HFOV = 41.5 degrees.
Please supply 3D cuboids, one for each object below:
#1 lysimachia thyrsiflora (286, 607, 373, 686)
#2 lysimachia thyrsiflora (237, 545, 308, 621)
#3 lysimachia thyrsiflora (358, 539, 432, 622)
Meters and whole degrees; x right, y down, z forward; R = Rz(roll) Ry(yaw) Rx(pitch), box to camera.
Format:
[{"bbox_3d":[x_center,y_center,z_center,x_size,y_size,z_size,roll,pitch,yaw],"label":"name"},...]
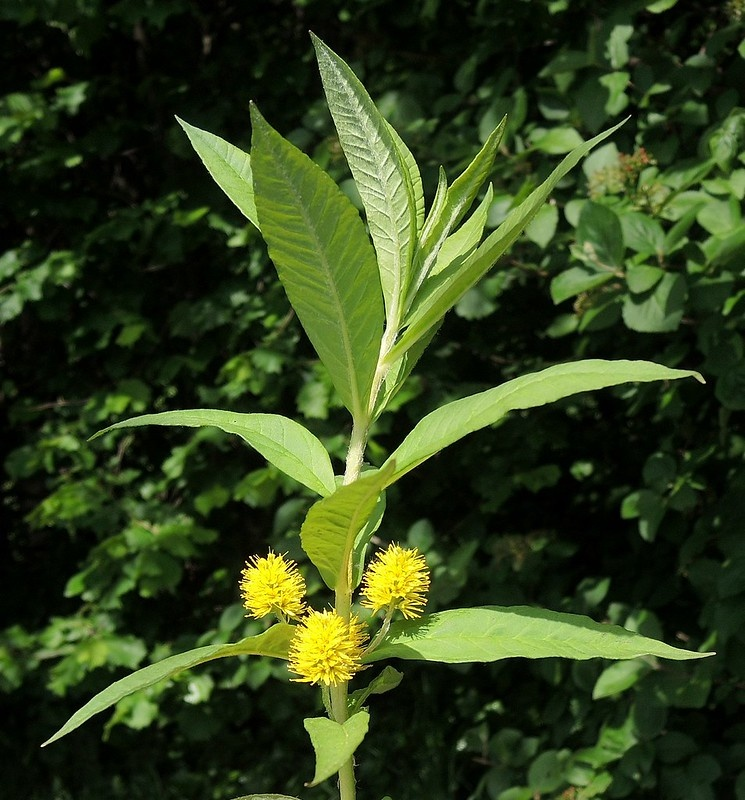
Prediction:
[{"bbox_3d":[-0.078,0.302,1.234,0.087,0.069,0.077,-8,2,-11],"label":"lysimachia thyrsiflora"},{"bbox_3d":[-0.130,0.253,1.295,0.084,0.084,0.071,3,5,34],"label":"lysimachia thyrsiflora"},{"bbox_3d":[0.031,0.244,1.273,0.067,0.066,0.061,14,20,26],"label":"lysimachia thyrsiflora"}]
